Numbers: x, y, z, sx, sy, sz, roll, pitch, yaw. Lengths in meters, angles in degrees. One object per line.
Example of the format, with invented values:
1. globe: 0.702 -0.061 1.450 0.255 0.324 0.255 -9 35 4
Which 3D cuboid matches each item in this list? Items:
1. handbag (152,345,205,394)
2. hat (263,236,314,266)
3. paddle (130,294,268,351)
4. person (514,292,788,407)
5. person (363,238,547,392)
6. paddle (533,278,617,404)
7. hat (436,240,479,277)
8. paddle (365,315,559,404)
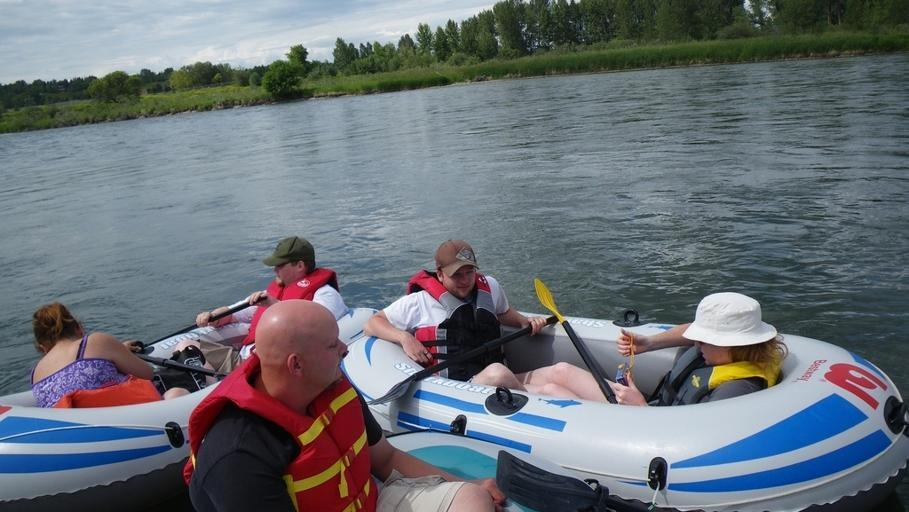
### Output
1. handbag: -3.433 1.439 8.405 0.666 0.560 0.237 5 -21 5
2. hat: -2.143 -0.059 8.664 0.603 0.274 0.360 1 4 -11
3. paddle: -3.607 0.962 9.427 1.629 0.298 0.164 -21 41 -19
4. person: 2.122 1.072 7.312 2.391 0.409 1.357 -7 19 35
5. person: 0.045 0.801 8.534 1.460 0.762 2.097 -21 64 -37
6. paddle: 1.409 0.977 7.974 0.290 0.172 2.323 19 28 -36
7. hat: 0.004 -0.016 7.955 0.523 0.334 0.648 -8 10 -16
8. paddle: 0.006 1.215 7.798 2.900 0.213 0.295 -16 60 -25
